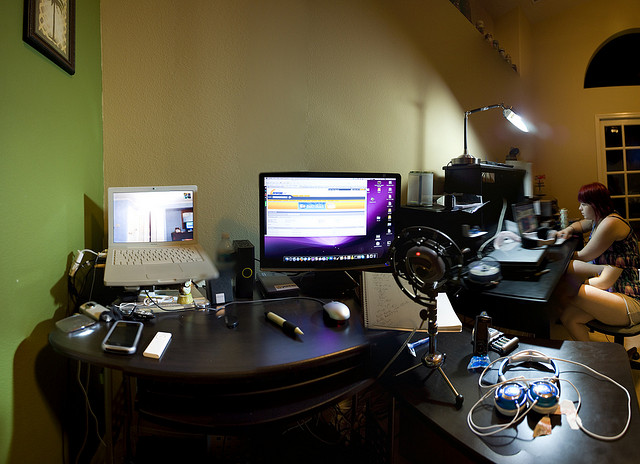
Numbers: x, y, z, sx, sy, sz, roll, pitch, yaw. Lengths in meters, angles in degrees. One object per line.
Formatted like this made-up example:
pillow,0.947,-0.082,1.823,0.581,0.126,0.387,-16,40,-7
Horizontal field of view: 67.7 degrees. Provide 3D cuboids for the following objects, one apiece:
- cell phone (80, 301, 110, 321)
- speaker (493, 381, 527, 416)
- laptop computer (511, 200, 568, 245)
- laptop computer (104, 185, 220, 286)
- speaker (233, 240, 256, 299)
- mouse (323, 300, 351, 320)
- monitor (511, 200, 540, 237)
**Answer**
cell phone,-1.023,0.338,2.108,0.098,0.031,0.057,21,23,24
speaker,0.765,0.643,1.897,0.129,0.053,0.171,-8,23,43
laptop computer,1.617,-0.107,3.560,0.313,0.298,0.401,0,9,31
laptop computer,-0.764,0.007,2.251,0.492,0.428,0.260,-4,9,-17
speaker,-0.383,0.186,2.334,0.083,0.258,0.248,-2,5,-11
mouse,0.070,0.357,2.153,0.123,0.073,0.108,-1,10,3
monitor,1.618,-0.104,3.665,0.355,0.248,0.033,-8,0,-33
